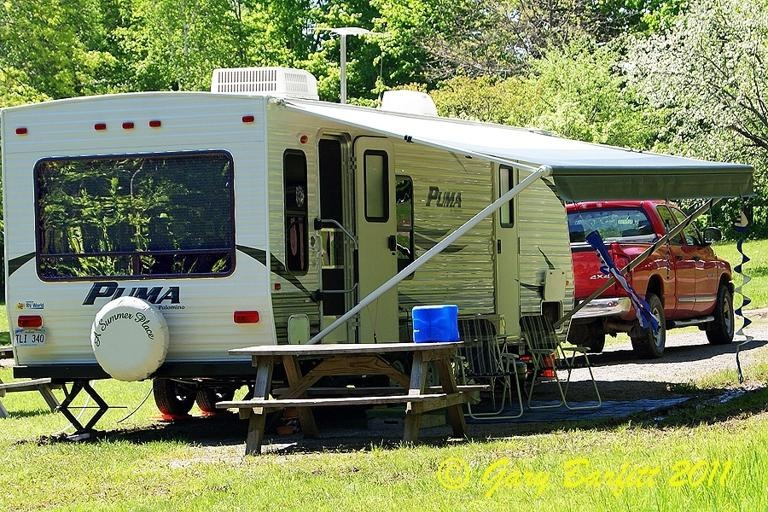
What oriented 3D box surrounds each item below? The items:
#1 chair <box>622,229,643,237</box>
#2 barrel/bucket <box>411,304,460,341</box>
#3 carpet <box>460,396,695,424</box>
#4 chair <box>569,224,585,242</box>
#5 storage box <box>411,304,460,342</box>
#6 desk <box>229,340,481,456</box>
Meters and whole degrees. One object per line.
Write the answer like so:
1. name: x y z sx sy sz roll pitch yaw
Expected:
1. chair: 4.099 -0.392 15.100 0.270 0.125 0.136 -1 2 29
2. barrel/bucket: 0.530 0.717 9.689 0.415 0.341 0.403 1 -2 0
3. carpet: 2.458 1.891 11.114 2.448 0.151 1.350 -1 2 12
4. chair: 3.213 -0.376 15.139 0.279 0.287 0.289 -1 2 14
5. storage box: 0.600 0.750 9.755 0.648 0.419 0.607 -2 -8 -11
6. desk: -0.299 1.475 9.932 2.386 1.158 1.666 -2 2 4
